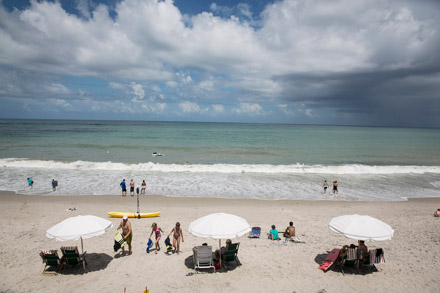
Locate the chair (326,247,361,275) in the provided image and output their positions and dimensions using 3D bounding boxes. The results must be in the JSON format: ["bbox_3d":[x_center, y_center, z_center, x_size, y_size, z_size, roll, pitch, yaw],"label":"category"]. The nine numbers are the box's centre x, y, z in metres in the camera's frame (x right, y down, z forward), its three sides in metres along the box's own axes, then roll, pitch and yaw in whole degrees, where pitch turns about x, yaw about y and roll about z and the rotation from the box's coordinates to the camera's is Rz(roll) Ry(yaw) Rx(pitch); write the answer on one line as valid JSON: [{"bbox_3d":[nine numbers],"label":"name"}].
[{"bbox_3d":[7.358,6.511,16.321,1.070,1.222,1.673,5,-13,0],"label":"chair"}]

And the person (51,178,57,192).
[{"bbox_3d":[-15.355,3.555,26.117,0.389,1.007,1.156,-4,6,-27],"label":"person"}]

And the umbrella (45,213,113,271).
[{"bbox_3d":[-7.852,5.189,15.882,3.074,2.477,3.000,2,6,24],"label":"umbrella"}]

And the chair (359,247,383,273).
[{"bbox_3d":[8.587,6.442,16.198,1.101,1.165,1.173,9,-10,-6],"label":"chair"}]

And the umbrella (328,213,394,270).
[{"bbox_3d":[8.108,5.327,16.327,3.556,2.166,3.519,1,-3,8],"label":"umbrella"}]

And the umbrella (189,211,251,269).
[{"bbox_3d":[0.043,4.962,16.199,3.359,1.929,3.440,-1,2,45],"label":"umbrella"}]

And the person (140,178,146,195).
[{"bbox_3d":[-7.242,3.775,26.242,0.506,1.079,1.290,-3,5,-12],"label":"person"}]

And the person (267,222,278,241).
[{"bbox_3d":[3.437,5.526,18.264,0.566,0.974,0.662,-4,6,-25],"label":"person"}]

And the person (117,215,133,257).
[{"bbox_3d":[-5.459,5.148,16.425,0.508,2.496,0.676,-4,6,-23],"label":"person"}]

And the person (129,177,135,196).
[{"bbox_3d":[-8.034,3.806,25.542,0.358,1.220,0.956,-3,6,-18],"label":"person"}]

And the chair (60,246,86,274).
[{"bbox_3d":[-8.157,6.120,15.467,1.313,1.541,1.556,-1,-8,-6],"label":"chair"}]

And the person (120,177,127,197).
[{"bbox_3d":[-8.734,3.740,25.502,0.385,1.371,0.816,-3,6,-18],"label":"person"}]

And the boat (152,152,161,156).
[{"bbox_3d":[-9.829,1.177,44.024,1.569,0.548,1.690,-1,4,-2],"label":"boat"}]

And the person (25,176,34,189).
[{"bbox_3d":[-17.981,3.422,26.639,0.438,0.911,1.361,-5,6,-34],"label":"person"}]

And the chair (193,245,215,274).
[{"bbox_3d":[-0.942,5.989,15.381,1.263,1.133,2.110,-5,-29,2],"label":"chair"}]

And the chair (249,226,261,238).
[{"bbox_3d":[2.272,5.633,18.590,0.588,0.417,0.906,1,-1,0],"label":"chair"}]
